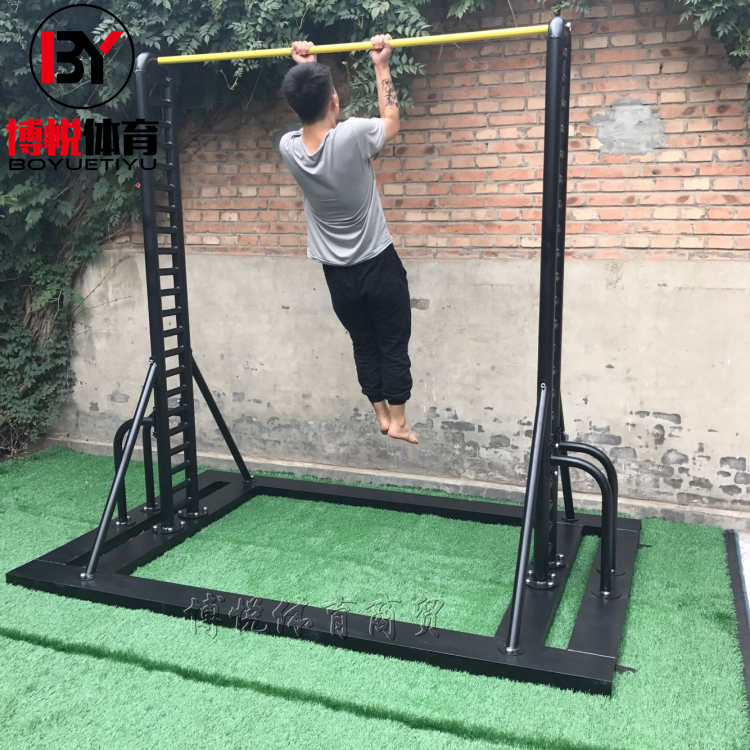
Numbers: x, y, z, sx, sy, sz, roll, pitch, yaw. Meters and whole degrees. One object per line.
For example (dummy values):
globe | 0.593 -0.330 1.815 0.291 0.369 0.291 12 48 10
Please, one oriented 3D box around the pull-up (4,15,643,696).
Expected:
pull-up | -0.150 -0.182 4.060 2.997 2.407 1.883 3 11 22
